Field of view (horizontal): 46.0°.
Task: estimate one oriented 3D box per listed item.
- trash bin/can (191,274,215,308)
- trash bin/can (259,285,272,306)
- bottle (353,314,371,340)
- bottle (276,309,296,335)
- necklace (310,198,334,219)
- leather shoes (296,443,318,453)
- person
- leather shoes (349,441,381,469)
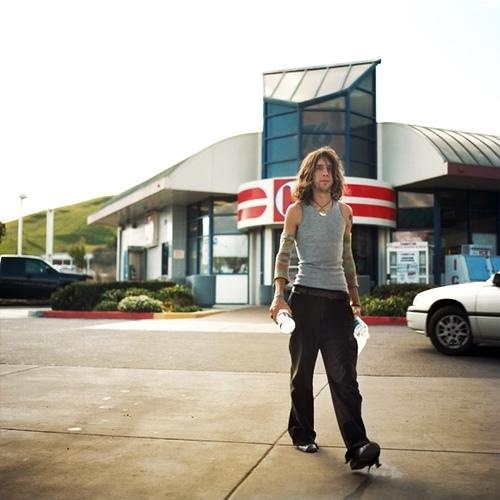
[{"bbox_3d":[-1.710,1.411,20.173,0.793,1.476,0.915,-2,-1,30],"label":"trash bin/can"},{"bbox_3d":[0.632,1.825,23.362,0.599,0.841,0.666,3,5,22],"label":"trash bin/can"},{"bbox_3d":[0.757,0.518,3.919,0.099,0.161,0.053,5,-1,45],"label":"bottle"},{"bbox_3d":[0.223,0.460,3.717,0.115,0.138,0.192,1,7,-6],"label":"bottle"},{"bbox_3d":[0.486,-0.277,4.001,0.081,0.124,0.036,-32,-55,26],"label":"necklace"},{"bbox_3d":[0.389,1.344,4.009,0.056,0.076,0.158,5,-16,-28],"label":"leather shoes"},{"bbox_3d":[0.479,0.307,3.876,0.665,2.113,0.551,-2,-5,14],"label":"person"},{"bbox_3d":[0.698,1.263,3.603,0.198,0.197,0.273,-2,-6,11],"label":"leather shoes"}]
